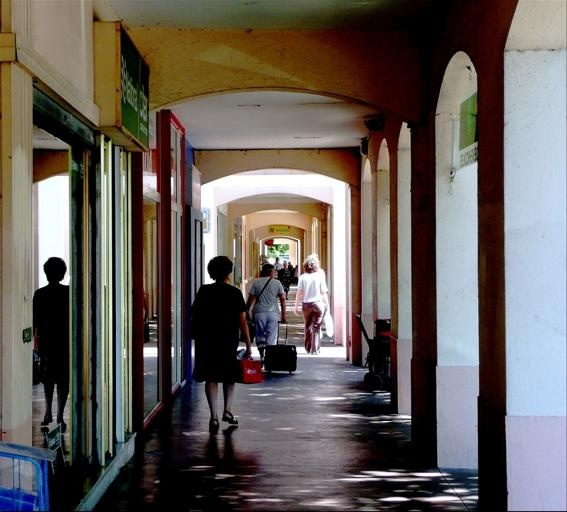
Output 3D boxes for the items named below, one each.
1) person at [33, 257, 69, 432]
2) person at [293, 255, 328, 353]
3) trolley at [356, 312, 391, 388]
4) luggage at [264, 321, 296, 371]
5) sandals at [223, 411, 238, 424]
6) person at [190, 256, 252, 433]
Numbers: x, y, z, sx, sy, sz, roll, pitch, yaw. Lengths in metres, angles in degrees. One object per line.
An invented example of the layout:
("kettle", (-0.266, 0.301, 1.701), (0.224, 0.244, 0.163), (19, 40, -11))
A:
("person", (-1.797, 0.643, 5.092), (0.265, 1.294, 0.297), (3, -11, -29))
("person", (0.532, 0.911, 12.178), (0.563, 1.850, 1.164), (1, -1, 2))
("trolley", (1.347, 1.349, 9.371), (0.621, 1.108, 0.525), (-8, -26, 24))
("luggage", (-0.034, 1.444, 10.589), (0.493, 0.996, 0.344), (0, -34, 3))
("sandals", (-0.551, 1.684, 6.970), (0.165, 0.152, 0.099), (1, 0, 0))
("person", (-0.609, 0.889, 6.806), (0.471, 1.278, 0.641), (1, -1, 41))
